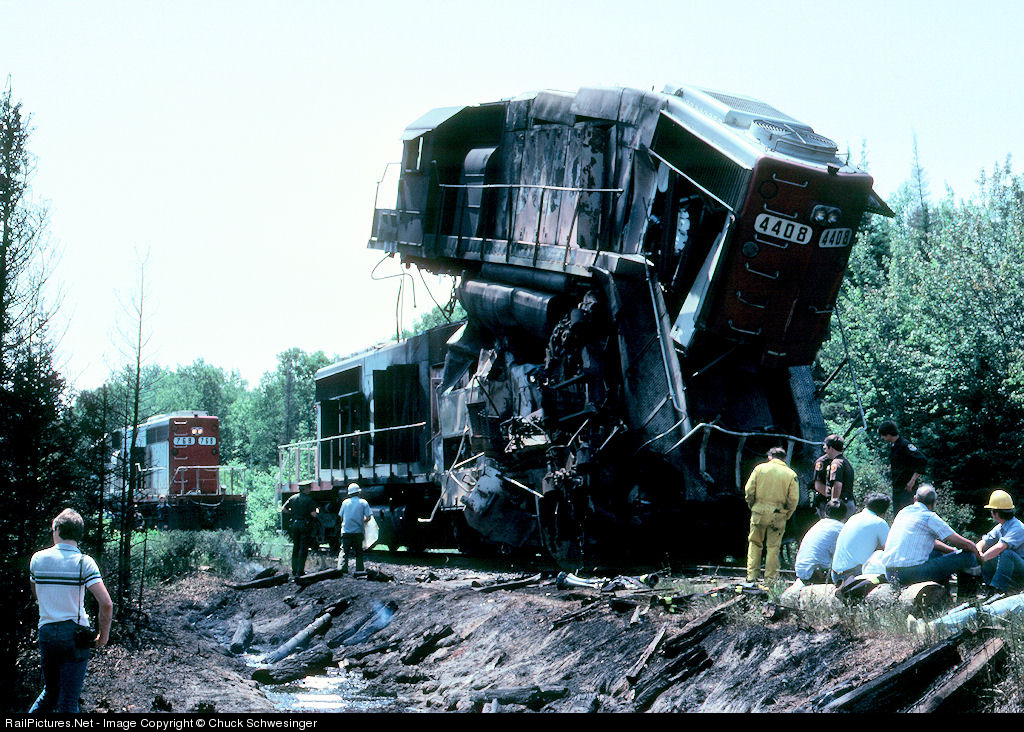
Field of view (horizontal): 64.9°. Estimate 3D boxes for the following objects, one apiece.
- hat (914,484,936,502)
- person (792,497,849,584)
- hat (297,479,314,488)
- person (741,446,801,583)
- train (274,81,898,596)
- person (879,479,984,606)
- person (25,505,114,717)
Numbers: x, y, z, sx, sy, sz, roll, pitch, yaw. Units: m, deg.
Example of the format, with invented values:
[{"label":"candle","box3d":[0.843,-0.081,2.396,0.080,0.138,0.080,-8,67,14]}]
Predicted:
[{"label":"hat","box3d":[5.072,1.555,9.855,0.199,0.239,0.237,5,-2,-5]},{"label":"person","box3d":[4.344,2.394,10.890,0.793,1.134,0.704,6,-8,5]},{"label":"hat","box3d":[-6.916,3.984,27.188,0.425,0.221,0.604,1,-6,1]},{"label":"person","box3d":[3.804,2.153,11.851,0.821,1.873,0.545,0,-6,4]},{"label":"train","box3d":[1.093,-0.101,19.898,6.263,8.948,17.319,3,-7,-32]},{"label":"person","box3d":[4.973,2.038,9.665,1.233,1.192,0.562,2,-6,-17]},{"label":"person","box3d":[-4.520,2.507,8.261,0.764,2.049,1.114,4,-7,-29]}]
